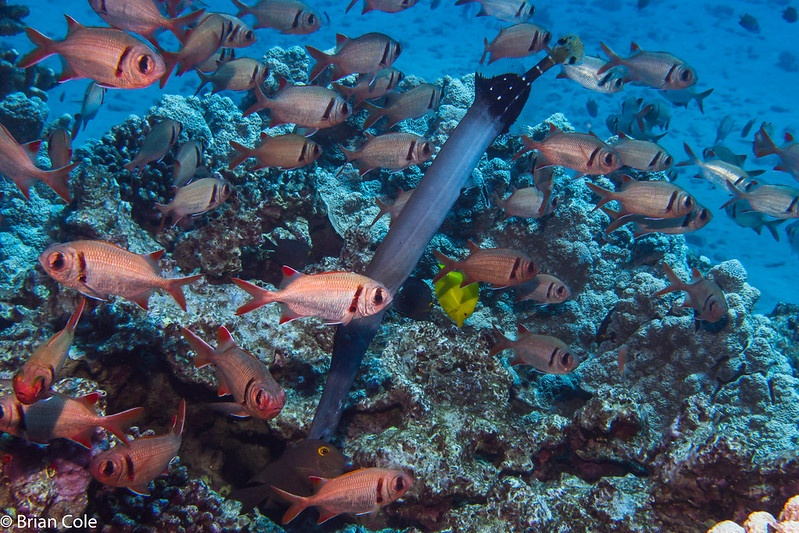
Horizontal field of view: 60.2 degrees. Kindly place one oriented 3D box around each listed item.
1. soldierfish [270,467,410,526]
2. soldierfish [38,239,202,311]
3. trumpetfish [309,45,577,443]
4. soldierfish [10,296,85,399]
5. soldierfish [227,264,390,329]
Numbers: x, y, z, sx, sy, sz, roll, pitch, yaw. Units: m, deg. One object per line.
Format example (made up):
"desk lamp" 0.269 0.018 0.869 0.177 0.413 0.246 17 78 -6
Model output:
"soldierfish" -0.731 3.317 10.162 1.703 1.032 0.597 6 45 -22
"soldierfish" -4.334 0.064 10.117 1.642 0.608 0.580 12 44 -17
"trumpetfish" 0.755 -0.167 11.993 1.013 7.338 1.682 31 5 33
"soldierfish" -5.265 1.218 10.214 1.285 1.453 0.952 14 21 28
"soldierfish" -1.221 0.469 10.125 2.254 0.726 0.994 1 76 -9
